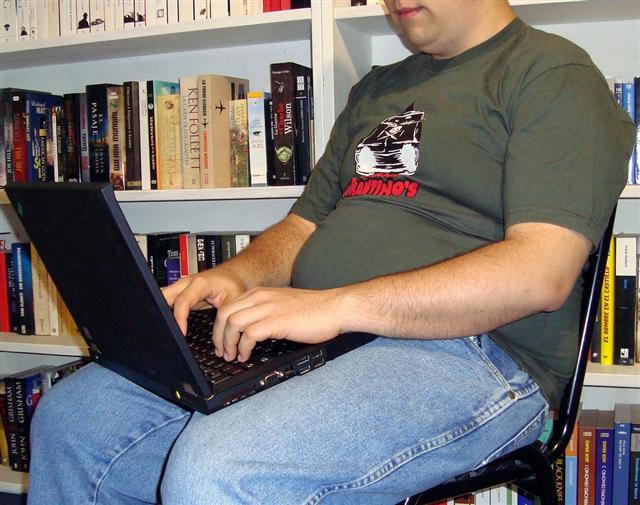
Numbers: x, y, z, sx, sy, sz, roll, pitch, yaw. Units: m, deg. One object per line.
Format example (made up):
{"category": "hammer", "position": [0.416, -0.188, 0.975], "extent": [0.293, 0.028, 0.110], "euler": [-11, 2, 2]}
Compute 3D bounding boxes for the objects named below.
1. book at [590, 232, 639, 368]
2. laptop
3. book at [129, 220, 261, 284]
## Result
{"category": "book", "position": [0.699, 0.108, 1.457], "extent": [0.156, 0.278, 0.273], "euler": [-1, -16, 33]}
{"category": "laptop", "position": [-0.216, -0.027, 1.101], "extent": [0.470, 0.336, 0.436], "euler": [-18, 16, -37]}
{"category": "book", "position": [-0.360, -0.012, 1.916], "extent": [0.314, 0.171, 0.299], "euler": [-5, 2, 41]}
